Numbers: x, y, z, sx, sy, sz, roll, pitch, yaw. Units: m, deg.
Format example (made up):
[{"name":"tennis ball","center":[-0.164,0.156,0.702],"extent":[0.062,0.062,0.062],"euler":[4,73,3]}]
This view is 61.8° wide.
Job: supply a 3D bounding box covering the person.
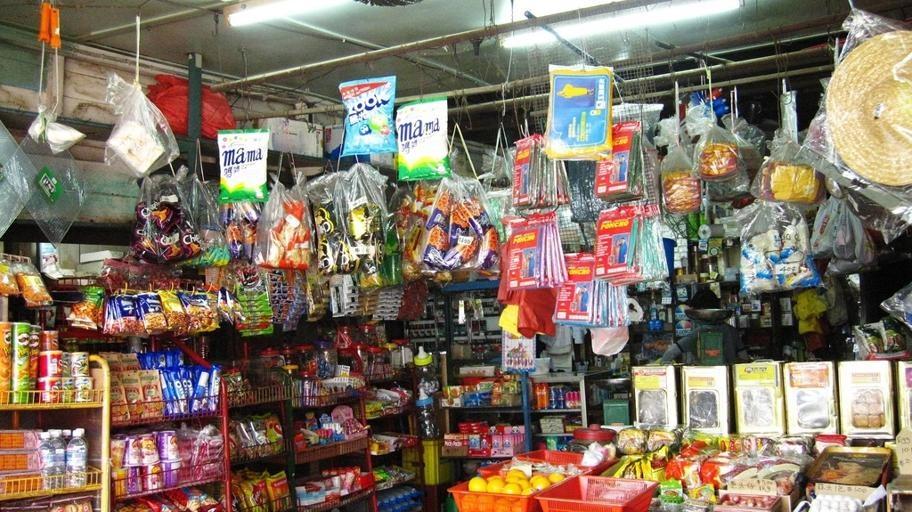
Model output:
[{"name":"person","center":[2.860,0.831,8.904],"extent":[1.077,1.133,0.603],"euler":[-1,0,11]}]
